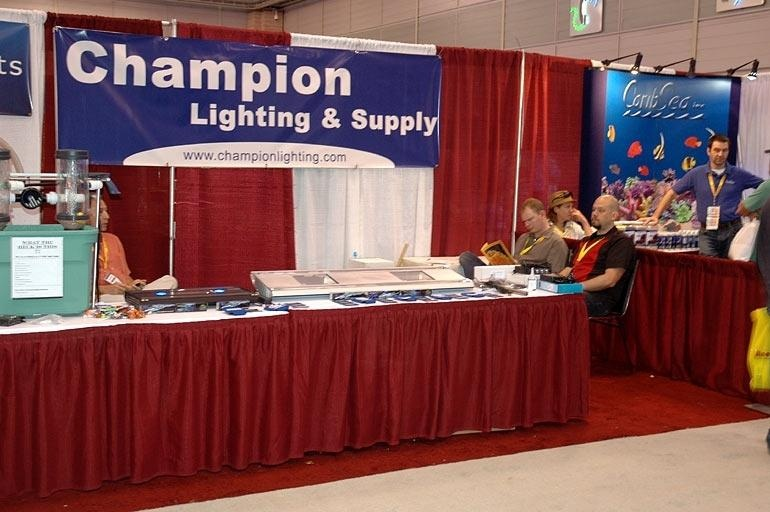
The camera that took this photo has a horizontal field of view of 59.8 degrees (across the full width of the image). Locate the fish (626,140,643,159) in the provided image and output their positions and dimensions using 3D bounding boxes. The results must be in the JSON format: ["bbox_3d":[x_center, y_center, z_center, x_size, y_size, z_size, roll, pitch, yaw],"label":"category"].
[{"bbox_3d":[2.745,-1.161,7.367,0.184,0.174,0.049,5,5,-31],"label":"fish"}]

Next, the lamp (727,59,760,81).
[{"bbox_3d":[3.964,-2.059,7.402,0.317,0.216,0.460,8,16,25],"label":"lamp"}]

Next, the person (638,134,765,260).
[{"bbox_3d":[3.112,-0.558,6.695,1.357,1.559,0.532,-2,-16,19],"label":"person"}]

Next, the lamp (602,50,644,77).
[{"bbox_3d":[2.703,-2.193,7.575,0.396,0.288,1.782,7,15,19],"label":"lamp"}]

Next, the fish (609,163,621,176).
[{"bbox_3d":[2.499,-0.934,7.278,0.107,0.111,0.129,-1,-11,-25],"label":"fish"}]

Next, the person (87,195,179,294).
[{"bbox_3d":[-1.984,-0.031,5.059,0.694,0.872,0.514,0,10,14],"label":"person"}]

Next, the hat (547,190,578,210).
[{"bbox_3d":[1.608,-0.511,6.107,0.196,0.101,0.159,-15,3,41],"label":"hat"}]

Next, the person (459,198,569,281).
[{"bbox_3d":[1.022,-0.094,5.303,0.776,0.947,0.693,3,6,-7],"label":"person"}]

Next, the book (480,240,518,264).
[{"bbox_3d":[0.850,-0.005,5.010,0.230,0.074,0.173,31,-27,-15],"label":"book"}]

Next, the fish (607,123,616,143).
[{"bbox_3d":[2.443,-1.312,7.216,0.156,0.163,0.044,-6,10,-34],"label":"fish"}]

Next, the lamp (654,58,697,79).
[{"bbox_3d":[3.322,-2.163,7.621,0.417,0.217,0.961,8,15,23],"label":"lamp"}]
